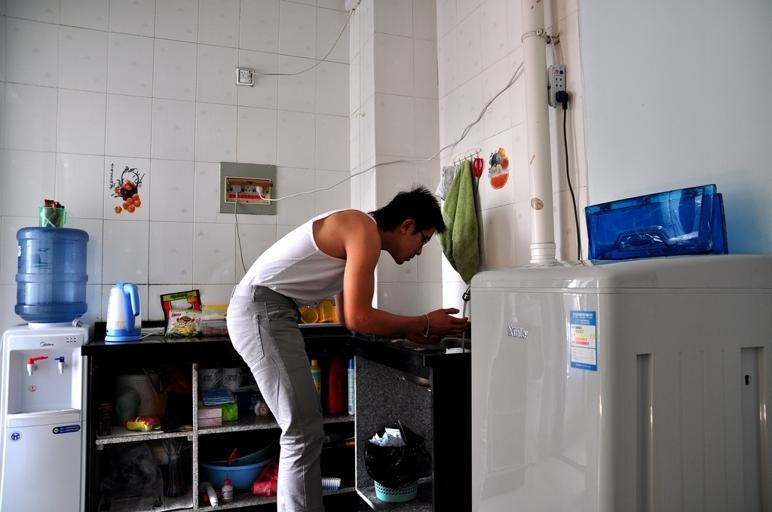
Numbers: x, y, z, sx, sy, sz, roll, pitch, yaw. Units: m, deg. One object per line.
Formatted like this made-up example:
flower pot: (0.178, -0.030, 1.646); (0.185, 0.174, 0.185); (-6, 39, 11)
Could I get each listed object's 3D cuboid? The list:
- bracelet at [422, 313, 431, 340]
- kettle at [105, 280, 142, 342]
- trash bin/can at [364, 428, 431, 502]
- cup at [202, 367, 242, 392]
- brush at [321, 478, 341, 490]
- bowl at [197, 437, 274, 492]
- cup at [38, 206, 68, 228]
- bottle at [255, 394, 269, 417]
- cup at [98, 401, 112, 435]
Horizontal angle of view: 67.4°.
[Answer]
bracelet: (0.187, 0.313, 2.581); (0.017, 0.078, 0.059); (5, -10, -5)
kettle: (-1.369, 0.308, 3.019); (0.186, 0.318, 0.289); (3, -6, -32)
trash bin/can: (0.026, 1.052, 2.999); (0.349, 0.394, 0.291); (1, -2, -16)
cup: (-0.953, 0.706, 3.309); (0.206, 0.149, 0.116); (1, -6, -16)
brush: (-0.297, 1.242, 3.144); (0.088, 0.035, 0.072); (1, -2, -16)
bowl: (-0.853, 1.156, 3.210); (0.273, 0.126, 0.251); (2, -10, 0)
cup: (-1.829, -0.214, 3.182); (0.125, 0.117, 0.108); (-2, 3, -19)
bottle: (-0.706, 0.849, 3.274); (0.079, 0.119, 0.053); (-8, -4, -7)
cup: (-1.432, 0.831, 2.934); (0.058, 0.153, 0.070); (0, -2, -27)
